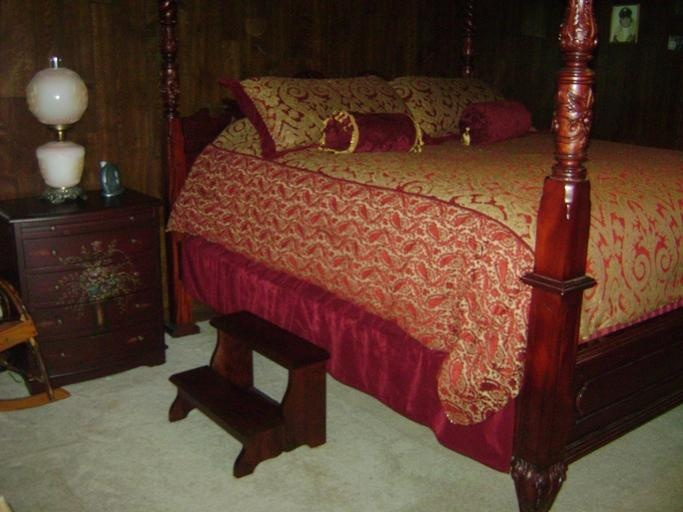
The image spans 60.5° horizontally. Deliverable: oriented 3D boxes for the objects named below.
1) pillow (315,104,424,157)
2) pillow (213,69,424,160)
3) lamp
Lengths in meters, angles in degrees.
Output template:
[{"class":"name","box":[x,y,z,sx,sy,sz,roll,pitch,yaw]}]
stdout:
[{"class":"pillow","box":[0.168,-0.722,3.394,0.476,0.198,0.277,-8,17,-30]},{"class":"pillow","box":[-0.060,-0.834,3.430,0.757,0.201,0.736,-8,39,-17]},{"class":"lamp","box":[-1.487,-0.674,3.144,0.288,0.725,0.238,-15,27,-39]}]
